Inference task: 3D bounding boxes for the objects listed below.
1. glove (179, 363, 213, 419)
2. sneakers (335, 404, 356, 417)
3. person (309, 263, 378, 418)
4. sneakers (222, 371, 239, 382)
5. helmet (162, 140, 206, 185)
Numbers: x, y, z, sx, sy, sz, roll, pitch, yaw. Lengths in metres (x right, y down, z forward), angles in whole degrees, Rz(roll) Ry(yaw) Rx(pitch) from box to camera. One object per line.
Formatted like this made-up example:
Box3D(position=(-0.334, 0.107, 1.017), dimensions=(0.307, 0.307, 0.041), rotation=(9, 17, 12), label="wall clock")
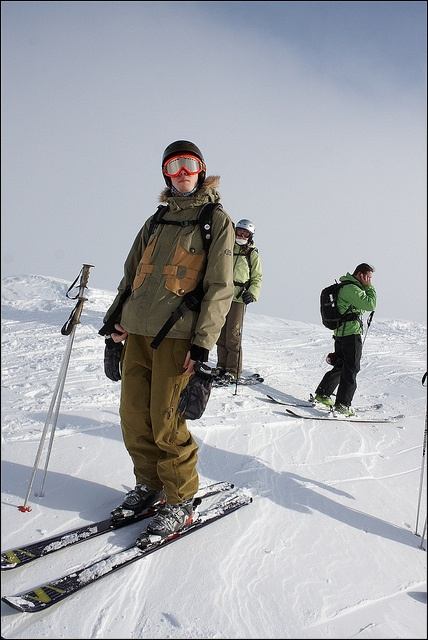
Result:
Box3D(position=(-0.124, 0.408, 2.889), dimensions=(0.171, 0.422, 0.347), rotation=(5, 8, -2), label="glove")
Box3D(position=(1.342, 1.026, 5.781), dimensions=(0.106, 0.127, 0.298), rotation=(4, -9, 8), label="sneakers")
Box3D(position=(1.363, 0.202, 5.892), dimensions=(0.477, 1.720, 0.772), rotation=(3, 8, -15), label="person")
Box3D(position=(0.138, 0.697, 6.203), dimensions=(0.255, 0.148, 0.406), rotation=(-4, -6, 7), label="sneakers")
Box3D(position=(-0.196, -0.927, 3.109), dimensions=(0.208, 0.264, 0.278), rotation=(-8, -14, 9), label="helmet")
